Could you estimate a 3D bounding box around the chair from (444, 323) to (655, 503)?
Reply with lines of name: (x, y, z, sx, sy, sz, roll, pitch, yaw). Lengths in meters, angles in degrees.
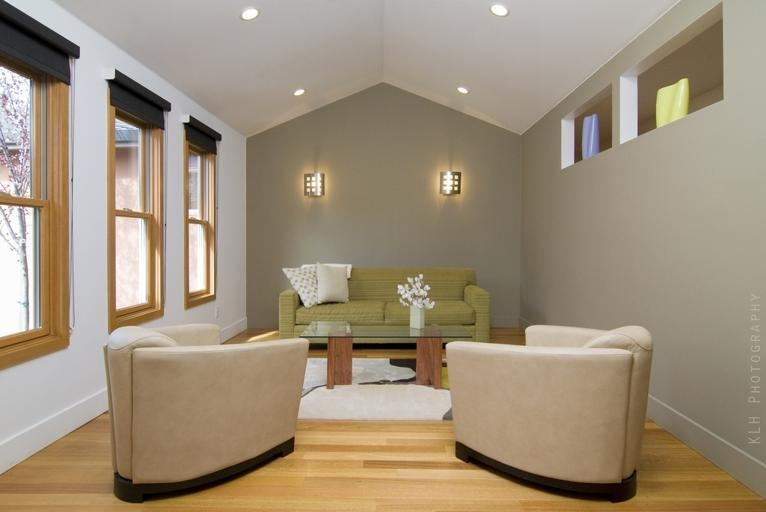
chair: (1.230, 0.992, 3.757, 1.187, 1.102, 1.252, -1, -5, 39)

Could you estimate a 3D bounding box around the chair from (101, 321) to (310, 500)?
chair: (-1.151, 0.999, 3.745, 1.236, 1.085, 1.201, 1, 1, 30)

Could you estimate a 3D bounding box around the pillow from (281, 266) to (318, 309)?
pillow: (-0.977, 0.370, 6.540, 0.128, 0.473, 0.490, -30, -3, 24)

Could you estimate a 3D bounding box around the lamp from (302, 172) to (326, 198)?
lamp: (-0.976, -1.009, 7.333, 0.349, 0.369, 0.117, 0, -2, 5)

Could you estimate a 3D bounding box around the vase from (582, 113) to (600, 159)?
vase: (2.189, -1.258, 5.513, 0.154, 0.461, 0.255, 1, 1, 23)

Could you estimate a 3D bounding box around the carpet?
carpet: (-0.089, 1.277, 4.887, 1.391, 0.172, 1.140, 0, 0, 1)

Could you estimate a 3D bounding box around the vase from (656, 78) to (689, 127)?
vase: (2.412, -1.277, 4.346, 0.222, 0.400, 0.373, 1, 1, 29)

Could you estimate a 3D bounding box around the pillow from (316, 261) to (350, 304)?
pillow: (-0.647, 0.362, 6.663, 0.403, 0.488, 0.189, 10, -38, -25)
